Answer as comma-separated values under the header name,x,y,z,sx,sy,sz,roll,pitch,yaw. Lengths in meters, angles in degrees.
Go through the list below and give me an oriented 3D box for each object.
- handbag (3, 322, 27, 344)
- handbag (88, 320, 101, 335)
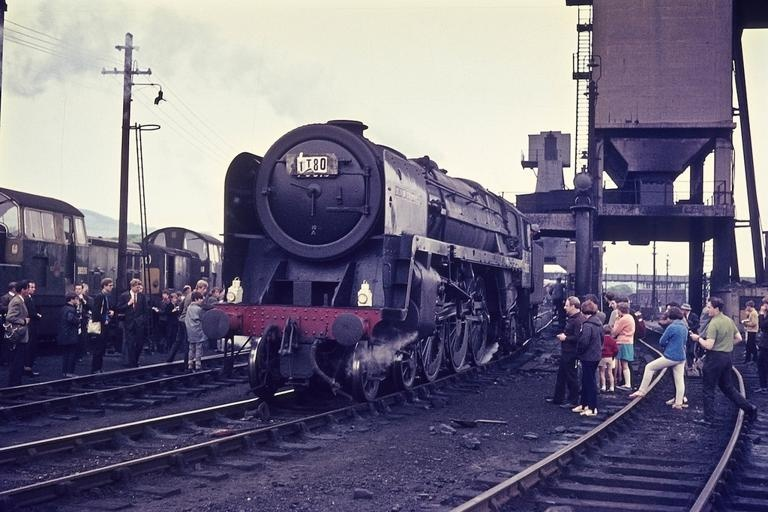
name,x,y,z,sx,sy,sz,roll,pitch,yaw
handbag,-7.741,1.608,14.015,0.480,0.459,0.356,1,-14,-7
handbag,-6.773,1.651,15.552,0.298,0.365,0.261,0,5,-26
